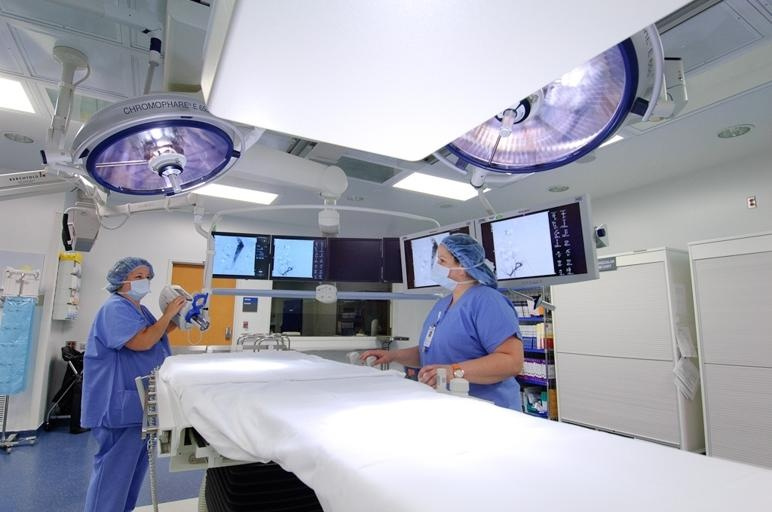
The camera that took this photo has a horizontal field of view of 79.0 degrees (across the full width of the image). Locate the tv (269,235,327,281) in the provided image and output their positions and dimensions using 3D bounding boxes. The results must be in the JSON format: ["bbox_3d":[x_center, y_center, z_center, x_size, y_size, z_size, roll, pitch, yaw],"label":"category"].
[{"bbox_3d":[-0.610,0.015,3.199,0.492,0.328,0.098,-5,5,-43],"label":"tv"}]

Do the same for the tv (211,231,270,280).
[{"bbox_3d":[-0.979,-0.004,3.123,0.045,0.312,0.443,6,3,42],"label":"tv"}]

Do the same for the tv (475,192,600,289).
[{"bbox_3d":[0.785,-0.053,2.544,0.649,0.443,0.061,-9,-8,44],"label":"tv"}]

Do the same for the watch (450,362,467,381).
[{"bbox_3d":[0.291,0.471,1.903,0.059,0.087,0.090,3,-8,9],"label":"watch"}]

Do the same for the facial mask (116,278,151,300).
[{"bbox_3d":[-1.675,0.221,3.117,0.150,0.118,0.126,-5,-4,12],"label":"facial mask"}]

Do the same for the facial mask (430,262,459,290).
[{"bbox_3d":[0.307,0.111,2.551,0.141,0.099,0.132,29,6,-7],"label":"facial mask"}]

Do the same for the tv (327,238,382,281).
[{"bbox_3d":[-0.212,0.032,3.231,0.420,0.281,0.095,-2,-2,-14],"label":"tv"}]
